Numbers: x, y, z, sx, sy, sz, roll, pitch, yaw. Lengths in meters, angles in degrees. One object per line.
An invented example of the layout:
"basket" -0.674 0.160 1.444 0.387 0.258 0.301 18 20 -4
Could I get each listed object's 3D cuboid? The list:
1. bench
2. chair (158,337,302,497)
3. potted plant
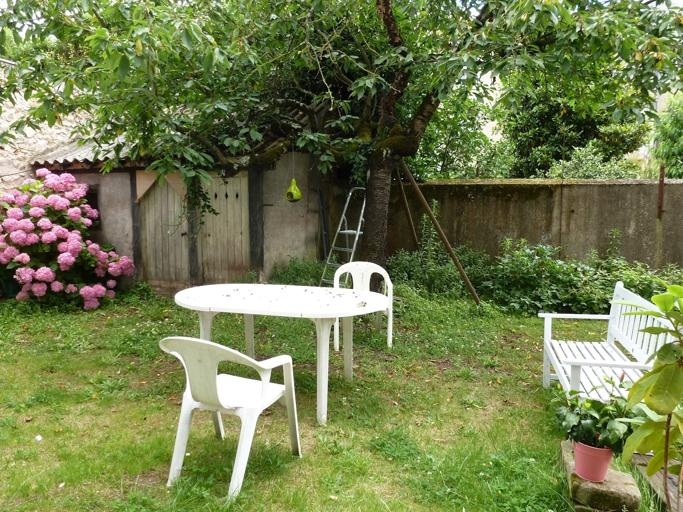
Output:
"bench" 2.518 0.449 5.803 0.812 1.386 2.160 1 0 9
"chair" -0.780 1.228 5.072 0.913 1.090 0.915 -5 -7 4
"potted plant" 1.844 1.328 4.823 0.607 0.761 0.722 2 -5 0
